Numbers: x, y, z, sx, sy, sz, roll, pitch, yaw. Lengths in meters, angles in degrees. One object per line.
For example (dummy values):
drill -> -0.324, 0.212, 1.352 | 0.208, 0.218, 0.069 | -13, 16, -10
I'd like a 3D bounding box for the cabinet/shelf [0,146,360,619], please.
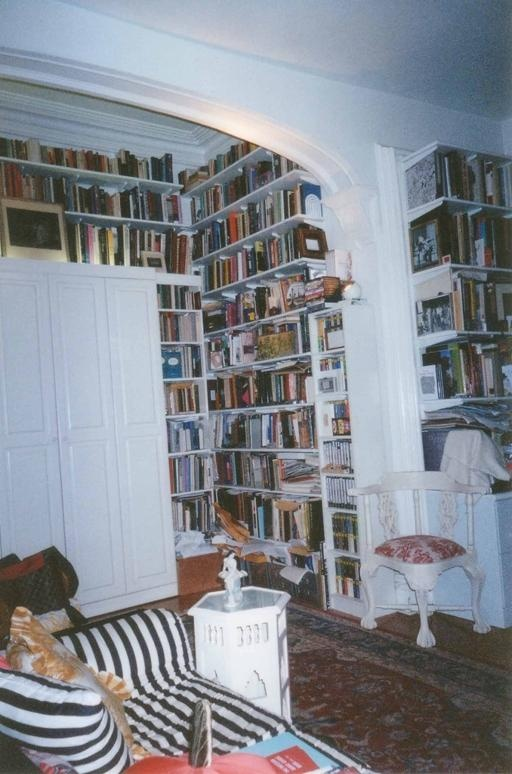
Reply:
cabinet/shelf -> -0.215, -0.286, 5.617 | 2.990, 3.897, 2.852 | -1, -2, -40
